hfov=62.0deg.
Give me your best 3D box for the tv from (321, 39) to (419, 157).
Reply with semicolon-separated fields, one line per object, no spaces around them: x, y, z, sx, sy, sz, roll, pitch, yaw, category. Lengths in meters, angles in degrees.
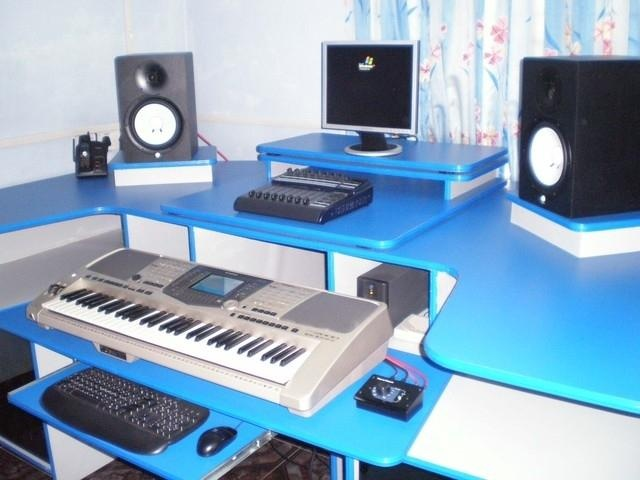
0.190;-0.543;2.001;0.395;0.392;0.211;7;19;23;tv
